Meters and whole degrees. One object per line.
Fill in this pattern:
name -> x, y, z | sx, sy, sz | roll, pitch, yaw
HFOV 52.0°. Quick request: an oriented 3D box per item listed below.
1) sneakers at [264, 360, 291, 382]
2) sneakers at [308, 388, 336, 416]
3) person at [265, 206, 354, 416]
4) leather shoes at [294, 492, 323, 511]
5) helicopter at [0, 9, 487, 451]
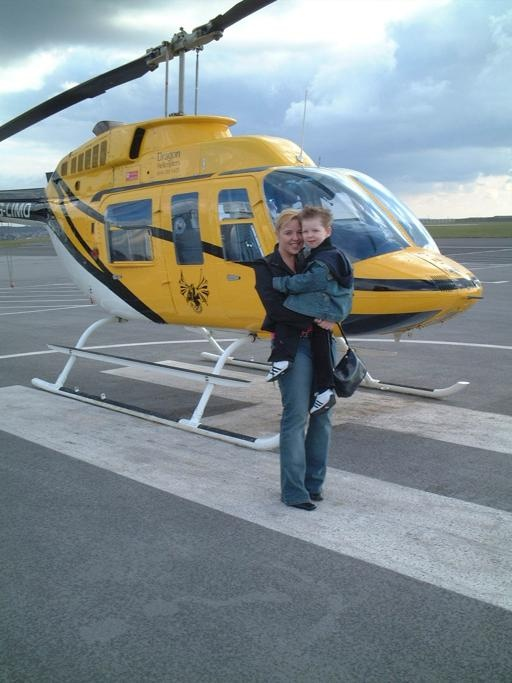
sneakers -> 0.124, 0.190, 3.305 | 0.215, 0.103, 0.071 | -40, 17, 39
sneakers -> 0.422, 0.377, 3.301 | 0.086, 0.099, 0.236 | -3, -26, -45
person -> 0.345, -0.157, 3.239 | 0.490, 1.275, 0.261 | 0, 8, 7
leather shoes -> 0.367, 1.071, 3.490 | 0.232, 0.074, 0.070 | -8, 10, -22
helicopter -> -0.370, -1.348, 6.530 | 5.947, 2.356, 4.786 | 9, 15, 38
